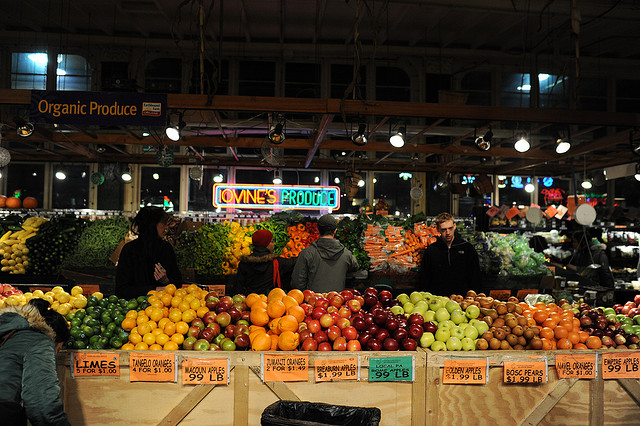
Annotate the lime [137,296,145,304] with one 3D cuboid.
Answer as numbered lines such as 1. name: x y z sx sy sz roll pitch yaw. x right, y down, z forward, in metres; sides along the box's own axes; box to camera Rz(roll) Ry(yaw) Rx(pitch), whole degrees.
1. lime: -2.365 1.157 7.933 0.079 0.092 0.077 35 -30 -24

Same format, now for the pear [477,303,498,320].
1. pear: 2.209 1.291 7.804 0.094 0.092 0.202 -6 29 -39

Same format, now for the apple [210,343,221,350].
1. apple: -1.324 1.676 7.506 0.094 0.074 0.075 4 0 -6

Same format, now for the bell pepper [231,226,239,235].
1. bell pepper: -1.512 0.307 10.679 0.134 0.133 0.102 0 -2 -12

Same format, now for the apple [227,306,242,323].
1. apple: -1.095 1.305 7.743 0.182 0.175 0.164 14 6 -44

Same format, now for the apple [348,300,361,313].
1. apple: 0.452 1.207 7.769 0.157 0.153 0.144 0 0 1

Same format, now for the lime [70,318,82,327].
1. lime: -3.101 1.387 7.616 0.104 0.099 0.102 1 1 2

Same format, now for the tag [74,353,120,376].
1. tag: -2.764 1.874 7.416 0.541 0.265 0.032 -1 -2 3

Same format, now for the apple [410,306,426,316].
1. apple: 1.291 1.268 7.854 0.128 0.142 0.124 -11 4 -24

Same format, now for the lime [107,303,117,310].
1. lime: -2.704 1.213 7.788 0.083 0.069 0.071 -6 -16 43

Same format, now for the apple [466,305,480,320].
1. apple: 1.986 1.286 7.780 0.161 0.165 0.168 -5 -4 -29

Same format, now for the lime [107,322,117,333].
1. lime: -2.639 1.466 7.625 0.098 0.113 0.096 0 6 5

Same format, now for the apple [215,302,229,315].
1. apple: -1.265 1.228 7.741 0.164 0.134 0.134 -15 -37 -7

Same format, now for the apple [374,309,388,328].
1. apple: 0.780 1.344 7.663 0.191 0.196 0.186 -3 2 1

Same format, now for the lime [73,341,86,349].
1. lime: -3.019 1.651 7.499 0.103 0.096 0.096 1 3 1

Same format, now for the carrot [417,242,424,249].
1. carrot: 1.854 0.601 10.976 0.112 0.114 0.025 -1 -2 9

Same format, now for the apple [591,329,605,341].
1. apple: 3.615 1.568 7.760 0.140 0.108 0.118 4 16 -9

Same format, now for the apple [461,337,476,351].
1. apple: 1.882 1.664 7.590 0.143 0.166 0.147 -15 -31 -4

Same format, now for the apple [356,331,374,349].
1. apple: 0.579 1.577 7.611 0.183 0.180 0.198 21 45 39

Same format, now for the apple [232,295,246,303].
1. apple: -1.067 1.142 7.915 0.120 0.091 0.087 -1 -6 -9

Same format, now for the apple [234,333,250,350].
1. apple: -0.973 1.612 7.524 0.186 0.209 0.174 -29 -7 -15

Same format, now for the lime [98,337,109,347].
1. lime: -2.713 1.617 7.546 0.111 0.125 0.110 2 3 5

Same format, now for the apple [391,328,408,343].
1. apple: 1.005 1.527 7.627 0.203 0.155 0.169 -6 25 -24

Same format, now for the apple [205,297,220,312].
1. apple: -1.410 1.193 7.786 0.166 0.158 0.174 4 -9 -40

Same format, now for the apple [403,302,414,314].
1. apple: 1.169 1.238 7.907 0.147 0.122 0.122 -34 18 -30

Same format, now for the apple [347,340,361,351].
1. apple: 0.422 1.662 7.507 0.130 0.122 0.128 -4 -21 7

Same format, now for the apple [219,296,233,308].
1. apple: -1.225 1.161 7.846 0.149 0.119 0.120 6 22 -29

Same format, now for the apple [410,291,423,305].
1. apple: 1.284 1.139 8.018 0.144 0.139 0.164 10 2 -1

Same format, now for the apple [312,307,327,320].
1. apple: -0.018 1.289 7.668 0.141 0.135 0.136 -1 1 2

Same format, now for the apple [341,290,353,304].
1. apple: 0.368 1.098 7.896 0.135 0.133 0.123 8 -27 34

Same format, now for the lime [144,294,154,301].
1. lime: -2.275 1.116 7.943 0.104 0.081 0.145 0 -2 -15

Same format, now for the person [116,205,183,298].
1. person: -2.476 0.625 8.837 0.994 1.409 0.739 -3 9 -14

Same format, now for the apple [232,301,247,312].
1. apple: -1.038 1.216 7.811 0.128 0.127 0.134 -2 -1 18

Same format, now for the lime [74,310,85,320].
1. lime: -3.076 1.298 7.663 0.129 0.106 0.106 -5 -46 19

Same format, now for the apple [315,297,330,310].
1. apple: 0.033 1.161 7.781 0.125 0.125 0.145 -18 18 -17

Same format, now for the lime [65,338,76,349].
1. lime: -3.143 1.642 7.525 0.119 0.137 0.117 1 4 6

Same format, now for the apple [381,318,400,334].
1. apple: 0.904 1.422 7.636 0.153 0.109 0.203 7 14 43

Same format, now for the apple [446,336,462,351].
1. apple: 1.705 1.646 7.580 0.164 0.158 0.155 -2 -2 4

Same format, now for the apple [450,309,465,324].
1. apple: 1.793 1.352 7.827 0.167 0.168 0.171 -44 -32 17

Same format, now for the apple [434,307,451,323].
1. apple: 1.588 1.325 7.762 0.161 0.189 0.159 -19 -40 9

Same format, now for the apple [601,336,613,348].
1. apple: 3.704 1.656 7.710 0.137 0.157 0.134 -3 0 4

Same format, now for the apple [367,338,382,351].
1. apple: 0.690 1.657 7.528 0.142 0.131 0.131 19 32 -16

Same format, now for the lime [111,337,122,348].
1. lime: -2.553 1.632 7.592 0.110 0.123 0.105 14 46 26

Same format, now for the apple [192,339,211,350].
1. apple: -1.483 1.653 7.500 0.144 0.137 0.153 13 -26 -38

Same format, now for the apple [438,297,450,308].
1. apple: 1.645 1.186 7.916 0.117 0.137 0.117 -1 0 19

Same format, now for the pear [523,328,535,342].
1. pear: 2.679 1.558 7.654 0.142 0.161 0.142 8 -6 19

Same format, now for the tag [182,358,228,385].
1. tag: -1.415 1.961 7.446 0.568 0.322 0.055 1 -2 -1

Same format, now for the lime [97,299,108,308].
1. lime: -2.863 1.195 7.888 0.089 0.087 0.090 24 50 40

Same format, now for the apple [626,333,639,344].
1. apple: 4.051 1.618 7.776 0.142 0.114 0.116 4 8 2

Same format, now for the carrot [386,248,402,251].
1. carrot: 1.316 0.664 10.822 0.324 0.082 0.073 0 4 -9

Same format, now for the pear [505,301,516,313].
1. pear: 2.503 1.248 7.872 0.117 0.132 0.115 -2 5 2

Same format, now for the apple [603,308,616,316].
1. apple: 3.847 1.305 7.949 0.119 0.096 0.096 14 -14 -34
